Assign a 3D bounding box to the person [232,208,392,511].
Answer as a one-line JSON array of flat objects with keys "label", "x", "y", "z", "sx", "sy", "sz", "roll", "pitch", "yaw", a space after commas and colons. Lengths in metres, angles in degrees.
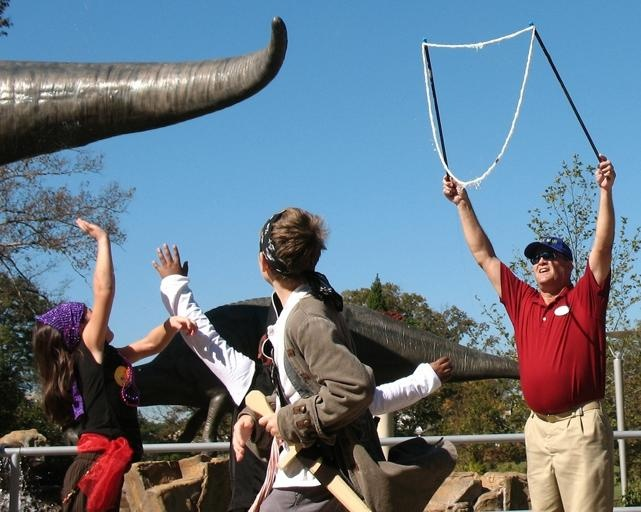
[{"label": "person", "x": -0.073, "y": 0.422, "z": 2.881, "sx": 0.666, "sy": 1.235, "sz": 0.297, "roll": -8, "pitch": -6, "yaw": 37}]
